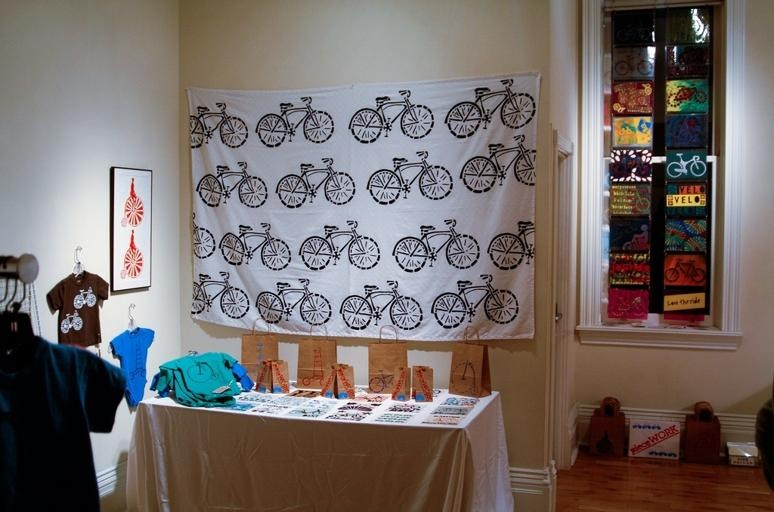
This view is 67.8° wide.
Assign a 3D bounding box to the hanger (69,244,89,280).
[{"bbox_3d":[-2.240,0.039,4.177,0.029,0.233,0.091,0,3,27],"label":"hanger"}]

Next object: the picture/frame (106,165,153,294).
[{"bbox_3d":[-2.019,-0.199,4.537,0.076,0.969,0.411,-1,3,24],"label":"picture/frame"}]

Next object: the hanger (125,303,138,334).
[{"bbox_3d":[-2.020,0.486,4.553,0.022,0.214,0.080,0,4,29],"label":"hanger"}]
